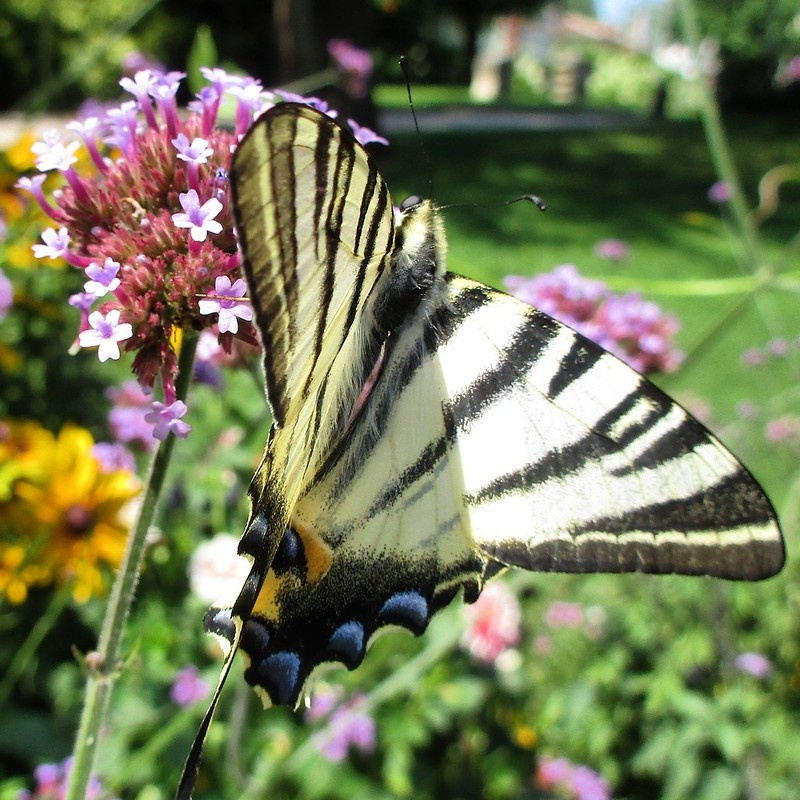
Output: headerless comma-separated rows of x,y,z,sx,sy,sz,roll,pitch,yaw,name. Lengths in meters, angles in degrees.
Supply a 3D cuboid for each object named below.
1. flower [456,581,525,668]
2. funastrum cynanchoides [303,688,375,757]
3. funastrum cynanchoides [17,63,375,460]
0.379,0.915,4.368,0.178,0.208,0.358,-4,102,-17,flower
-0.269,1.295,4.285,0.328,0.186,0.260,-1,92,-25,funastrum cynanchoides
-0.507,-0.420,3.224,0.896,1.004,1.146,-6,108,-15,funastrum cynanchoides
